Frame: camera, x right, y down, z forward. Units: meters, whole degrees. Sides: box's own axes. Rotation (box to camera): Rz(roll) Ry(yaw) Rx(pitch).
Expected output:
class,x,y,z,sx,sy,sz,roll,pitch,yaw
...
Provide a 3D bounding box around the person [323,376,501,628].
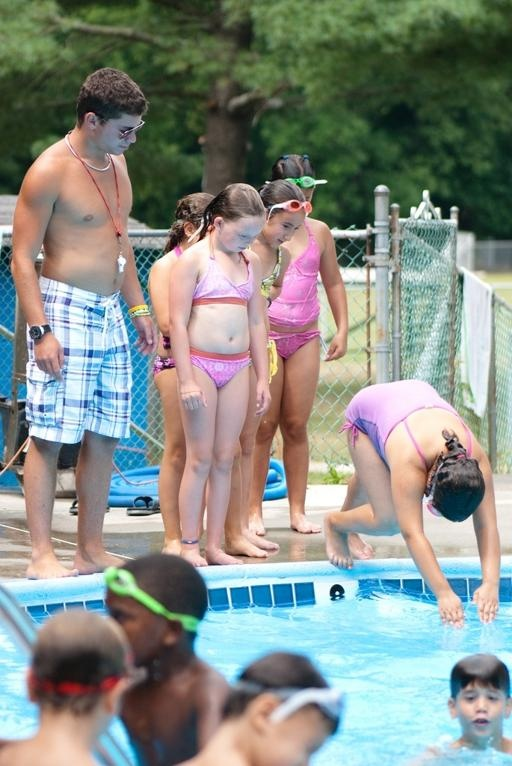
class,x,y,z,sx,sy,sz,roll,pitch,yaw
person,0.645,0.530,4.256,0.384,0.669,0.902,-16,51,-20

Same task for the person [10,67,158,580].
class,x,y,z,sx,sy,sz,roll,pitch,yaw
person,-0.656,-0.227,3.984,0.394,1.953,0.644,9,11,23

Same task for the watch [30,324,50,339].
class,x,y,z,sx,sy,sz,roll,pitch,yaw
watch,-0.774,-0.180,3.722,0.077,0.047,0.067,-19,-6,-10

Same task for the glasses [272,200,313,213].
class,x,y,z,sx,sy,sz,roll,pitch,yaw
glasses,0.155,-0.775,4.515,0.102,0.029,0.086,-16,-12,32

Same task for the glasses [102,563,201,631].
class,x,y,z,sx,sy,sz,roll,pitch,yaw
glasses,-0.208,0.428,2.035,0.159,0.042,0.119,28,-2,-6

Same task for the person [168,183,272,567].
class,x,y,z,sx,sy,sz,roll,pitch,yaw
person,-0.174,0.001,4.255,0.380,1.628,0.550,9,10,22
